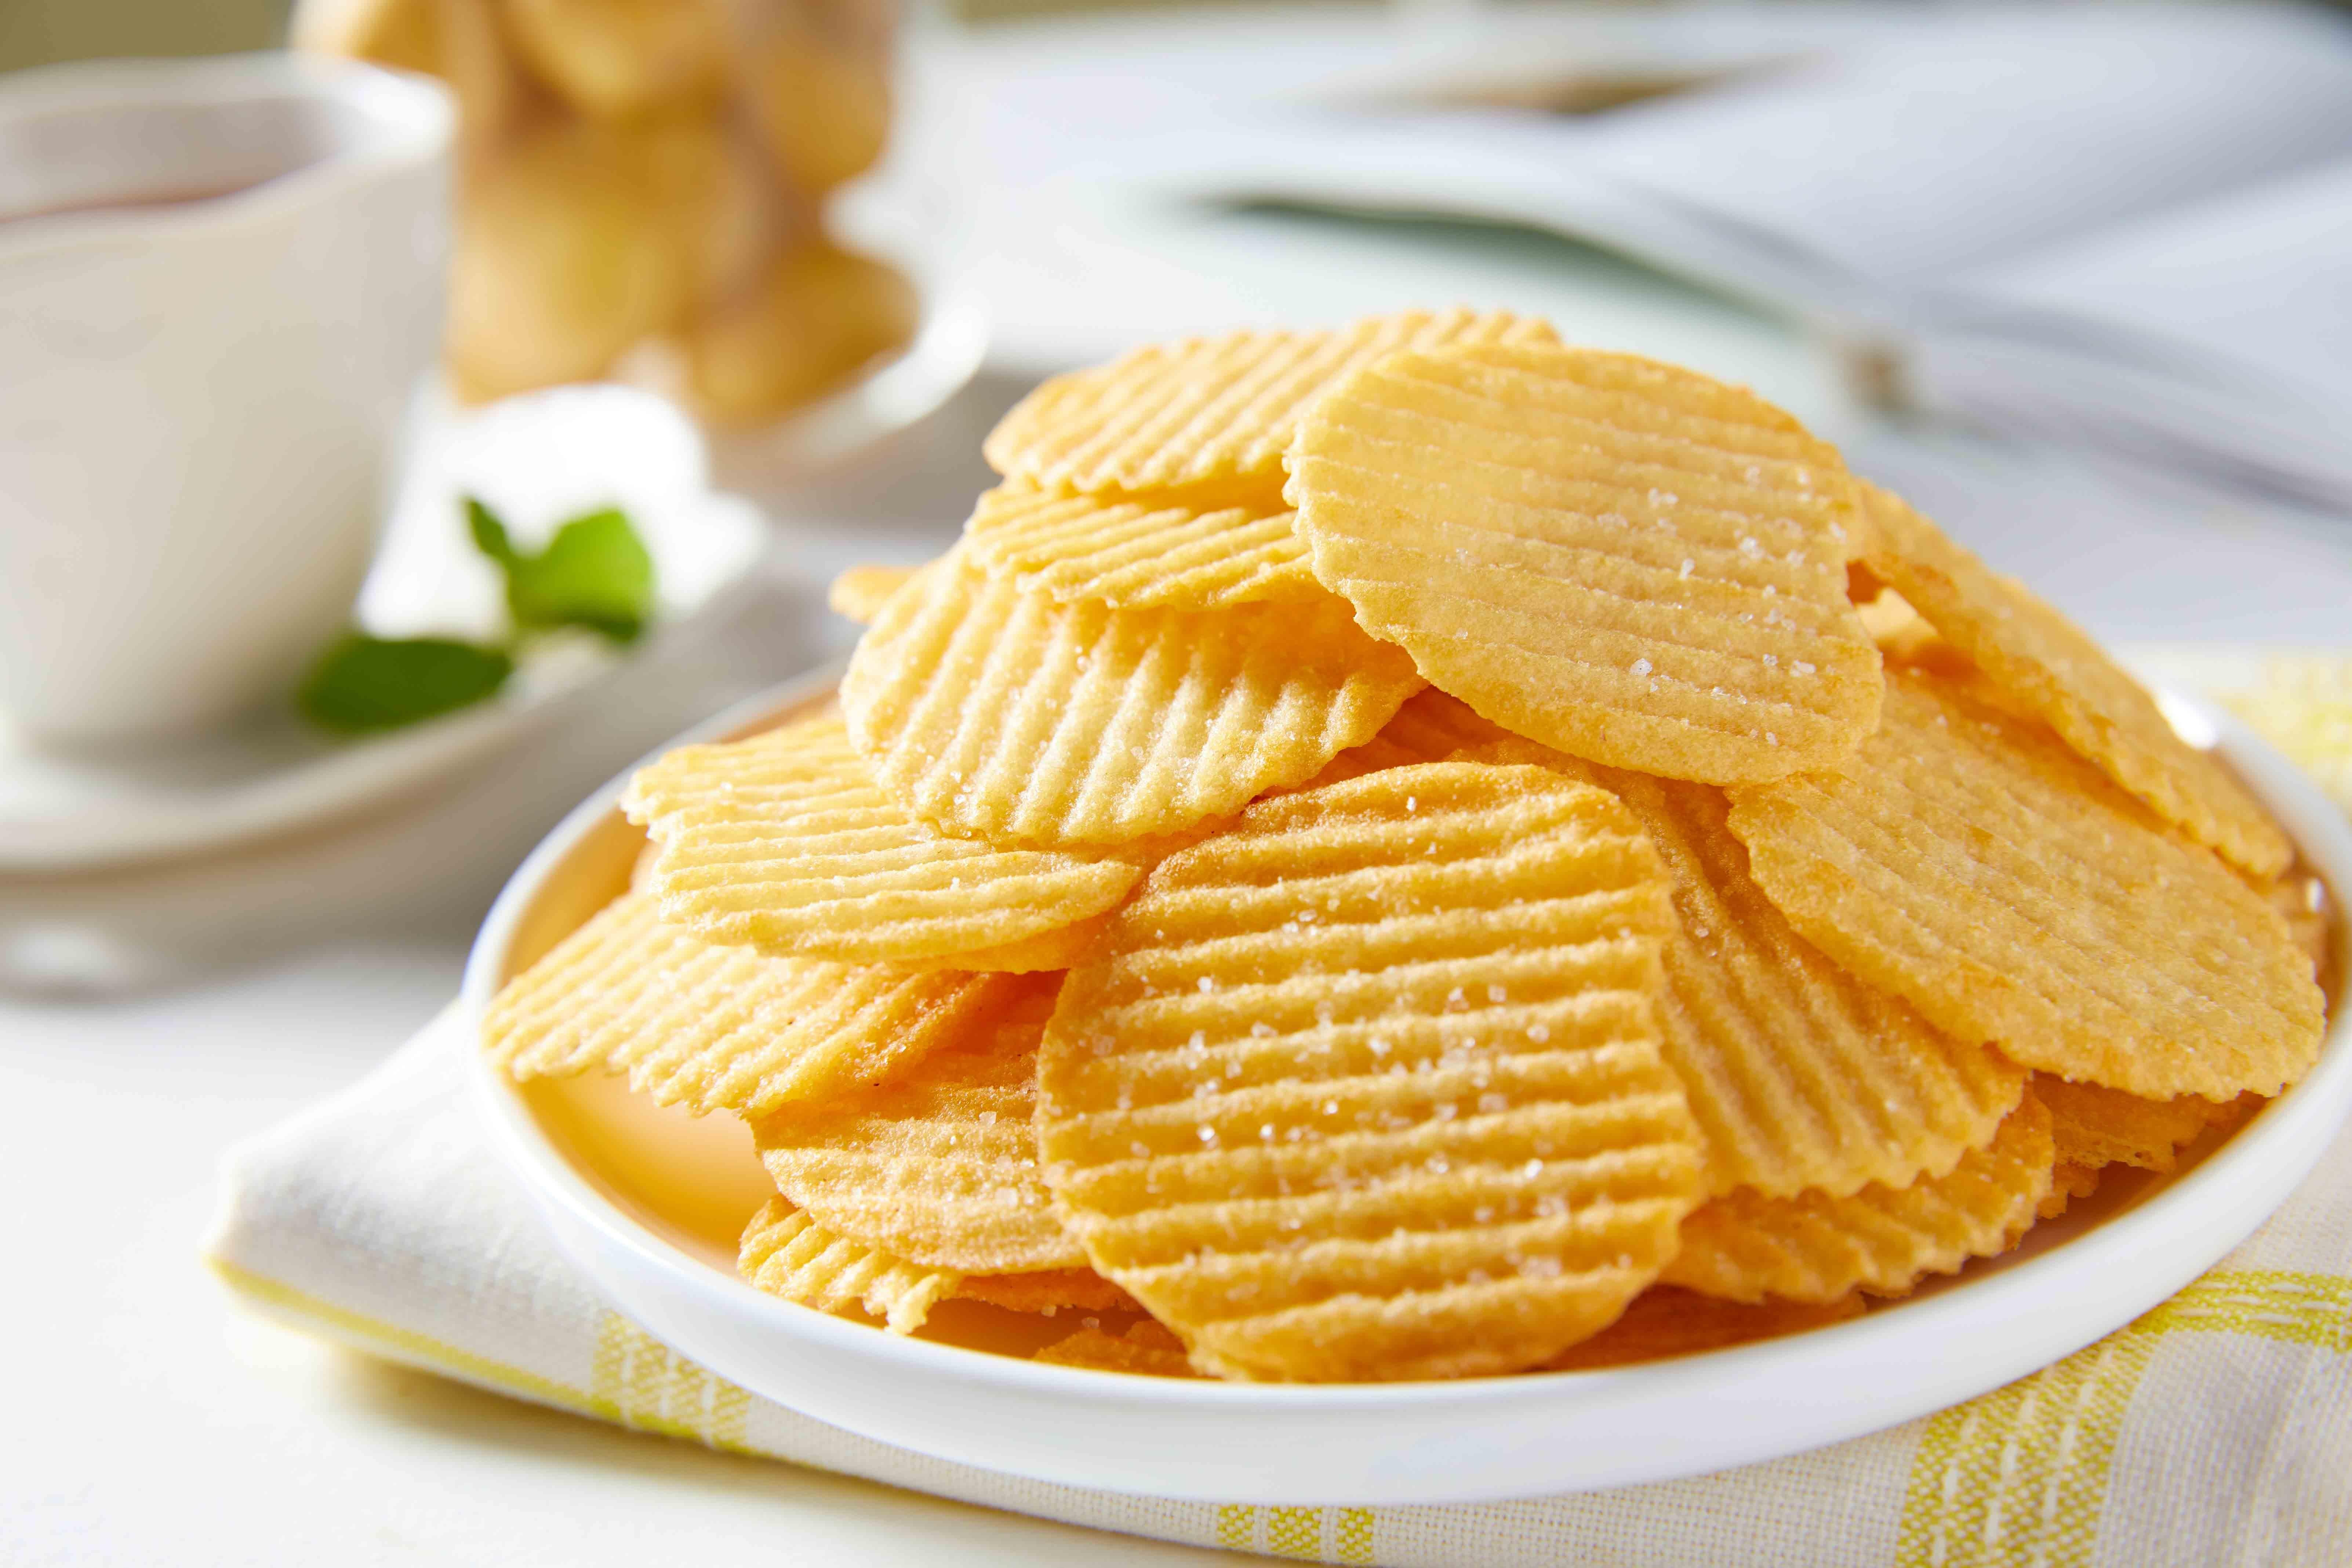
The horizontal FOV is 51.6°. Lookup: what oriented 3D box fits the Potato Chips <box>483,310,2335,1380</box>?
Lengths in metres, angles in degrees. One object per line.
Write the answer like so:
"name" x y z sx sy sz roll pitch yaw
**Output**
"Potato Chips" 0.101 0.047 1.014 0.529 0.175 0.548 5 34 15
